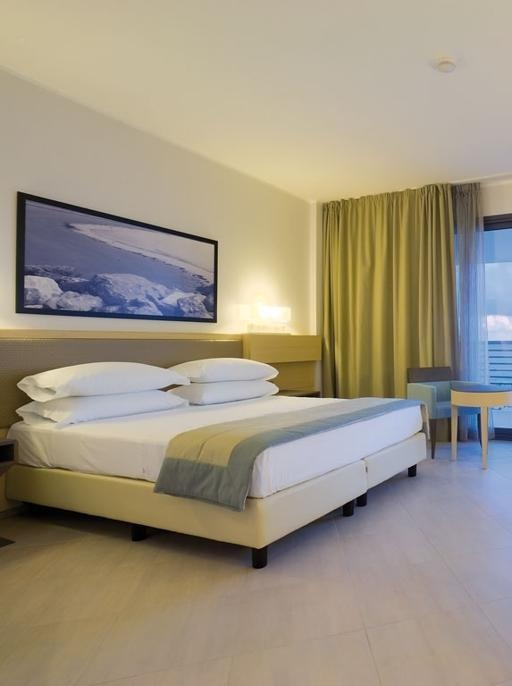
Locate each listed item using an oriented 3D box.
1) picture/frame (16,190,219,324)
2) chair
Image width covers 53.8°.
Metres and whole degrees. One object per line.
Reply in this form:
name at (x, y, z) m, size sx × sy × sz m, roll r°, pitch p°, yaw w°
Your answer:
picture/frame at (-0.884, -0.495, 3.546) m, size 0.042 × 0.716 × 1.772 m, roll 10°, pitch 7°, yaw 34°
chair at (1.674, 0.558, 4.348) m, size 0.526 × 0.694 × 0.534 m, roll -2°, pitch 0°, yaw -22°
